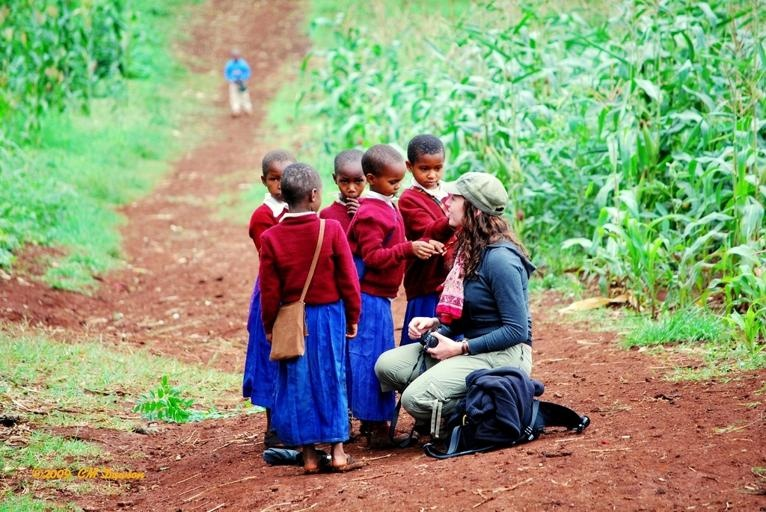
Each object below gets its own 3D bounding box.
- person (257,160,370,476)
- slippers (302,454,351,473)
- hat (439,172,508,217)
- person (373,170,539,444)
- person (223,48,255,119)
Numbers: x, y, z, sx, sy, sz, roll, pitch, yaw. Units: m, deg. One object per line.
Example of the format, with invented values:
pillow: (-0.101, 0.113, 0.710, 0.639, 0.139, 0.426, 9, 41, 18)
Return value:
person: (-0.488, 0.434, 5.964, 0.693, 2.119, 0.616, -4, 13, -7)
slippers: (-0.387, 1.432, 5.952, 0.302, 0.121, 0.139, -7, -4, -16)
hat: (0.663, -0.480, 6.129, 0.505, 0.244, 0.353, 17, 21, 5)
person: (0.564, 0.365, 6.247, 1.180, 1.871, 0.946, -4, 7, -17)
person: (-1.969, -2.332, 11.504, 0.303, 0.713, 0.442, -2, 0, -3)
